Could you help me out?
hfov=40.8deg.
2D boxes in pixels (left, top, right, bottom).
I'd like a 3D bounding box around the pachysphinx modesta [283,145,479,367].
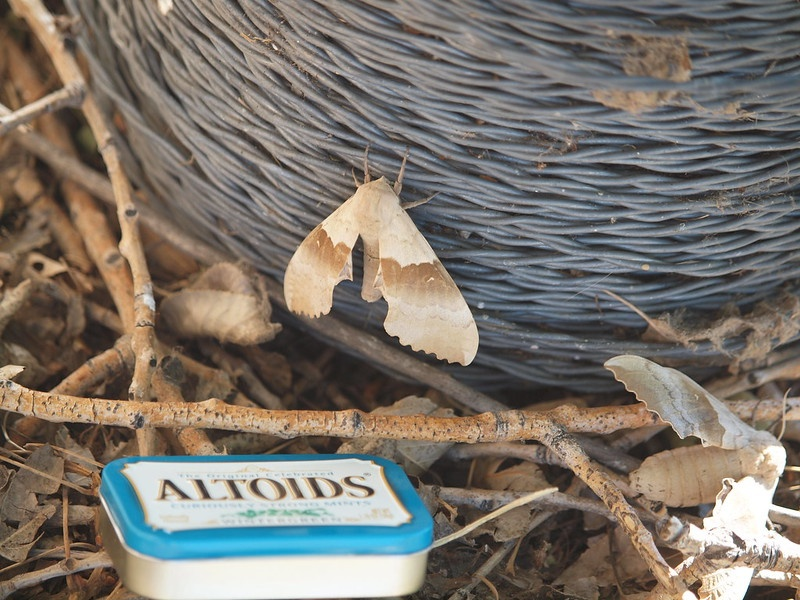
[{"bbox_3d":[0.005,-0.052,1.329,0.358,0.232,0.077,14,34,16],"label":"pachysphinx modesta"}]
